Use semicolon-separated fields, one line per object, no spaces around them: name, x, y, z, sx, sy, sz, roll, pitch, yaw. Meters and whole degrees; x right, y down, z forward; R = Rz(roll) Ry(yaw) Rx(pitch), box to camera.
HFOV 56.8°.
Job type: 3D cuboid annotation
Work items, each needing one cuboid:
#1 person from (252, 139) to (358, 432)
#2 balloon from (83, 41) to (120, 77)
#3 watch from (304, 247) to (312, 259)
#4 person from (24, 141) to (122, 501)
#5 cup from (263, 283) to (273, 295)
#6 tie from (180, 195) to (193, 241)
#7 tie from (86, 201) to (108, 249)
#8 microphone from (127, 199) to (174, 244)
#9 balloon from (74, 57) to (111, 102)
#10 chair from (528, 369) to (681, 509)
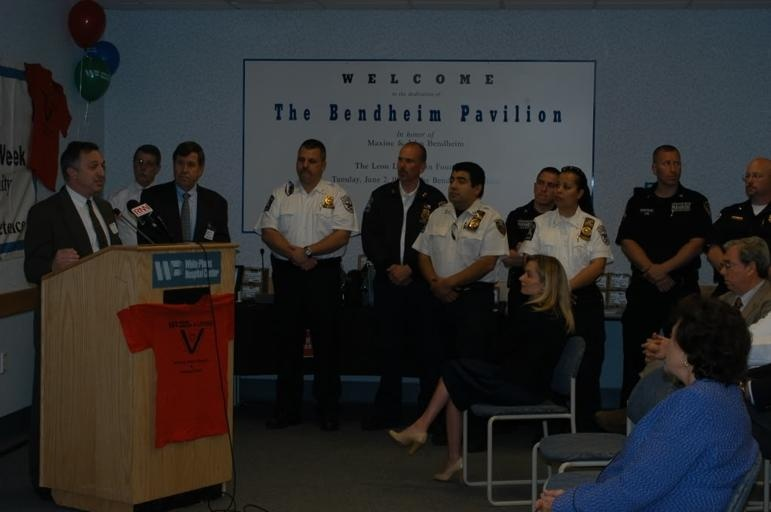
person;-0.656;0.209;5.883;0.779;2.337;0.388;0;7;-10
balloon;-2.627;-1.868;6.675;0.341;0.285;0.298;7;10;22
watch;-0.622;-0.045;5.667;0.054;0.080;0.073;-8;-5;-7
person;-2.063;0.335;4.650;0.541;2.175;0.836;0;7;-6
cup;-1.084;0.293;6.605;0.071;0.130;0.136;-1;0;15
tie;-1.610;-0.333;5.736;0.084;0.366;0.113;-1;7;-17
tie;-1.940;-0.208;4.751;0.065;0.338;0.037;-23;-6;-23
microphone;-1.442;-0.213;4.318;0.236;0.283;0.478;-1;8;-19
balloon;-2.666;-1.614;6.484;0.372;0.473;0.372;1;9;-9
chair;1.178;0.915;3.855;0.736;0.963;0.526;1;2;-1
